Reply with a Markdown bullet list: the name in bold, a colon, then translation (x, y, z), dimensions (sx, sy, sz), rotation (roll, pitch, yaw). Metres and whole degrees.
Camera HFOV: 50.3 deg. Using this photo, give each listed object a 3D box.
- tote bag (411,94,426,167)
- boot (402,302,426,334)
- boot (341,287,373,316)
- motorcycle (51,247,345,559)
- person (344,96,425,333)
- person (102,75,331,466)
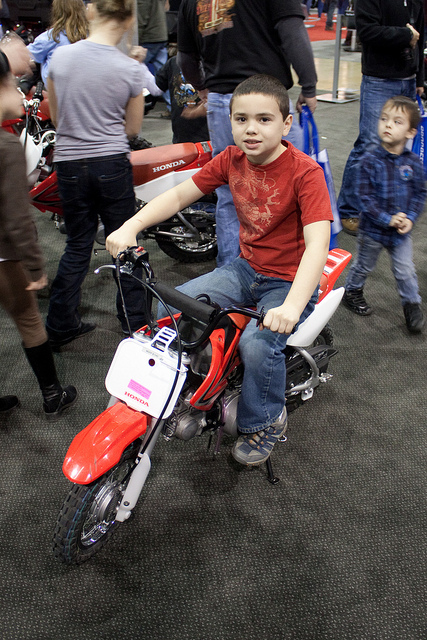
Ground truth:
- **tote bag**: translation (1.545, -1.384, 3.398), dimensions (0.113, 0.427, 0.275), rotation (5, 34, 20)
- **boot**: translation (1.251, -0.014, 2.881), dimensions (0.083, 0.106, 0.248), rotation (-12, 46, 13)
- **boot**: translation (0.947, -0.124, 3.040), dimensions (0.173, 0.124, 0.059), rotation (44, 46, 21)
- **motorcycle**: translation (0.059, 0.161, 1.658), dimensions (1.403, 0.824, 0.514), rotation (-26, 38, -38)
- **person**: translation (1.111, -0.618, 2.761), dimensions (0.532, 1.293, 0.372), rotation (19, 40, 36)
- **person**: translation (0.104, -0.174, 1.566), dimensions (0.644, 1.243, 0.696), rotation (22, 38, 34)
